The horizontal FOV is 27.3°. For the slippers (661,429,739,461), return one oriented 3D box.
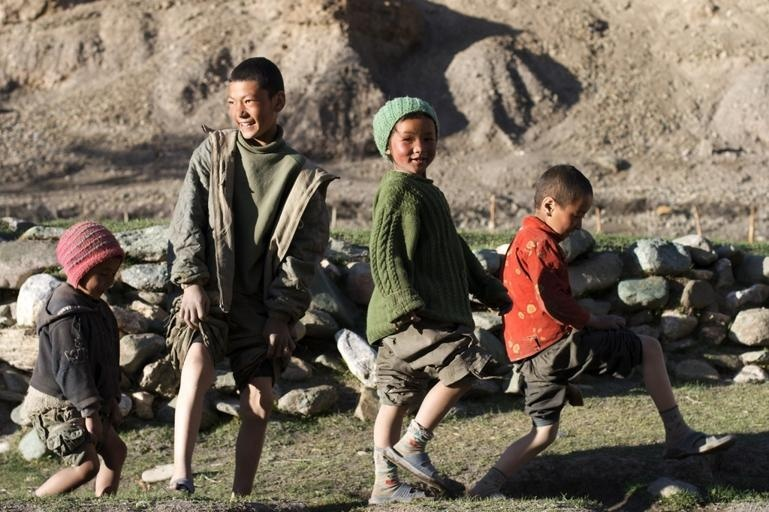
[{"bbox_3d":[4.593,2.695,23.032,0.966,0.324,0.396,-14,-8,10],"label":"slippers"}]

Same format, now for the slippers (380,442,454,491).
[{"bbox_3d":[0.535,3.055,22.984,1.177,0.439,0.439,31,-7,-5],"label":"slippers"}]

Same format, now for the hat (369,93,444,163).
[{"bbox_3d":[0.366,-1.910,23.279,1.010,0.799,0.782,16,-18,-21],"label":"hat"}]

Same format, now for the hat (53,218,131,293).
[{"bbox_3d":[-4.418,-0.070,23.133,1.034,0.912,0.786,-39,-7,13],"label":"hat"}]

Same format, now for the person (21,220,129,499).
[{"bbox_3d":[-4.417,1.537,22.819,1.570,3.931,0.715,-9,7,-10],"label":"person"}]

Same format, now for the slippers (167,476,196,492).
[{"bbox_3d":[-2.899,3.273,22.609,0.397,0.154,0.150,7,-2,-7],"label":"slippers"}]

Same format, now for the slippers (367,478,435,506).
[{"bbox_3d":[0.235,3.420,23.012,1.045,0.393,0.340,-4,1,3],"label":"slippers"}]
